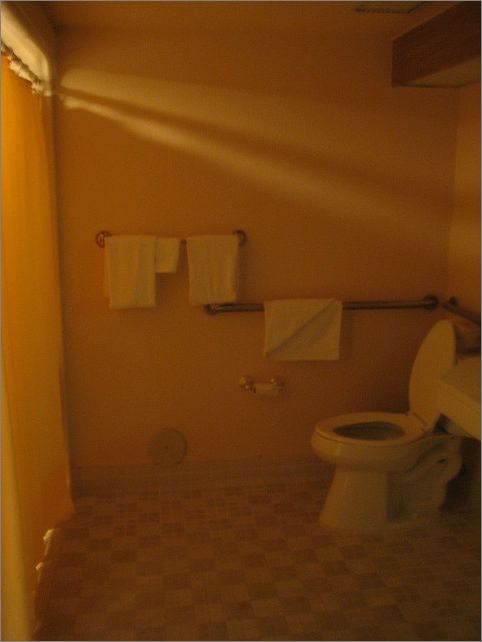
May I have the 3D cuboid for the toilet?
[{"bbox_3d":[0.581,0.394,2.168,0.546,0.812,0.369,-1,6,3],"label":"toilet"}]

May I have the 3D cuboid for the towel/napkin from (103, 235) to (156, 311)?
[{"bbox_3d":[-0.454,-0.202,2.189,0.246,0.398,0.050,-1,2,-9],"label":"towel/napkin"}]

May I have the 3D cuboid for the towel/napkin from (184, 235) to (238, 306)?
[{"bbox_3d":[-0.120,-0.211,2.225,0.240,0.373,0.047,-1,6,-9],"label":"towel/napkin"}]

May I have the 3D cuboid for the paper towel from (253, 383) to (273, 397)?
[{"bbox_3d":[0.101,0.308,2.406,0.056,0.015,0.065,-1,48,-1],"label":"paper towel"}]

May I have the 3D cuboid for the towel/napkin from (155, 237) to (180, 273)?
[{"bbox_3d":[-0.304,-0.264,2.198,0.109,0.133,0.044,2,1,7],"label":"towel/napkin"}]
